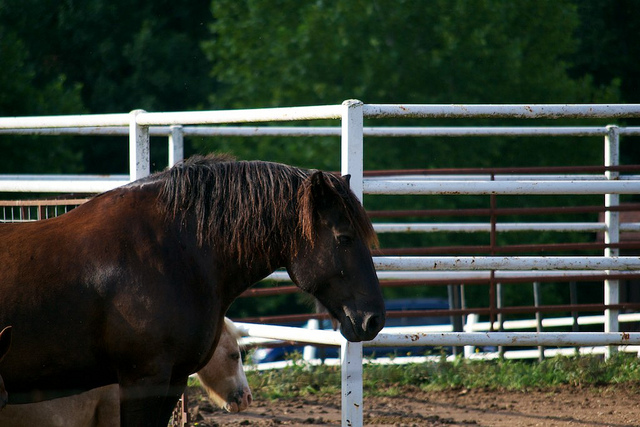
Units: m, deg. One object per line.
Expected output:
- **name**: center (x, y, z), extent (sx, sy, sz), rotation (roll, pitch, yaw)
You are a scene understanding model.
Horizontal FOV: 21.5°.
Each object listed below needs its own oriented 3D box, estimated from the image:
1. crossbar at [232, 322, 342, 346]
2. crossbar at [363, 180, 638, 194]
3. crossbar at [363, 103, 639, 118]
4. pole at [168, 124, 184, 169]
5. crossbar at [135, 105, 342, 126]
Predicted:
- **crossbar**: center (-0.618, 2.322, 32.106), extent (2.319, 0.298, 0.291), rotation (2, 10, 31)
- **crossbar**: center (3.344, -0.518, 31.719), extent (2.134, 0.218, 0.220), rotation (1, 8, -2)
- **crossbar**: center (3.406, -1.970, 31.645), extent (2.775, 0.325, 0.217), rotation (0, -27, -1)
- **pole**: center (-2.851, -1.406, 33.101), extent (0.294, 0.748, 0.457), rotation (-4, 8, -3)
- **crossbar**: center (-1.540, -1.887, 31.491), extent (3.874, 0.306, 0.193), rotation (-2, 9, 7)
